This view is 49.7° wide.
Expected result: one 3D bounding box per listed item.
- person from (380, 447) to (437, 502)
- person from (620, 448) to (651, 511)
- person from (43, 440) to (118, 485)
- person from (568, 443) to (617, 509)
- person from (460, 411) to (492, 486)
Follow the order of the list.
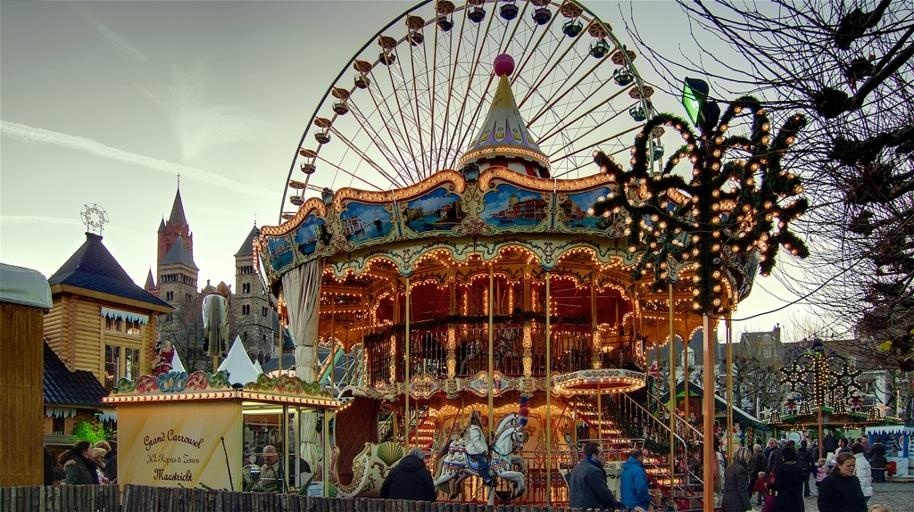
[{"bbox_3d":[-1.097,5.025,22.166,1.265,1.160,0.689,3,3,9],"label":"person"},{"bbox_3d":[3.989,5.046,22.317,0.625,1.365,0.453,-1,-17,0],"label":"person"},{"bbox_3d":[-9.050,5.046,23.797,0.881,1.095,2.703,6,-19,-21],"label":"person"},{"bbox_3d":[2.969,4.857,21.860,0.999,1.471,0.522,-2,-17,5],"label":"person"},{"bbox_3d":[0.475,4.837,24.927,0.783,1.846,0.555,3,-17,-12],"label":"person"}]
